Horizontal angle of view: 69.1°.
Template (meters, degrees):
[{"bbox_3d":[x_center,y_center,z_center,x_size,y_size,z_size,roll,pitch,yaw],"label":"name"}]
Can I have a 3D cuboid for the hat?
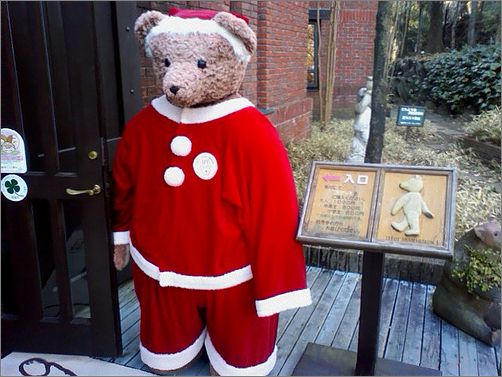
[{"bbox_3d":[-0.281,-0.768,1.955,0.399,0.169,0.329,5,14,11],"label":"hat"}]
